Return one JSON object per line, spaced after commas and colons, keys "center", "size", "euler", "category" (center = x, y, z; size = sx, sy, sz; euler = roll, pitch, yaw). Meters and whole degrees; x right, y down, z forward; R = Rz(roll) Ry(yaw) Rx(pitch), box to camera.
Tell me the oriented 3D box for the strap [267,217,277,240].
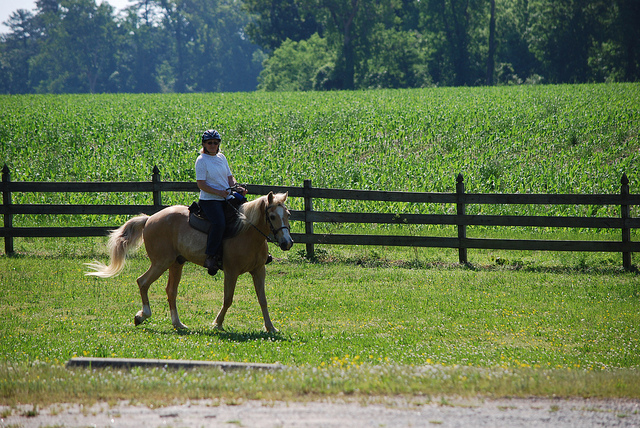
{"center": [-3.668, 1.212, 100.107], "size": [0.269, 2.406, 0.378], "euler": [-7, -4, -40], "category": "strap"}
